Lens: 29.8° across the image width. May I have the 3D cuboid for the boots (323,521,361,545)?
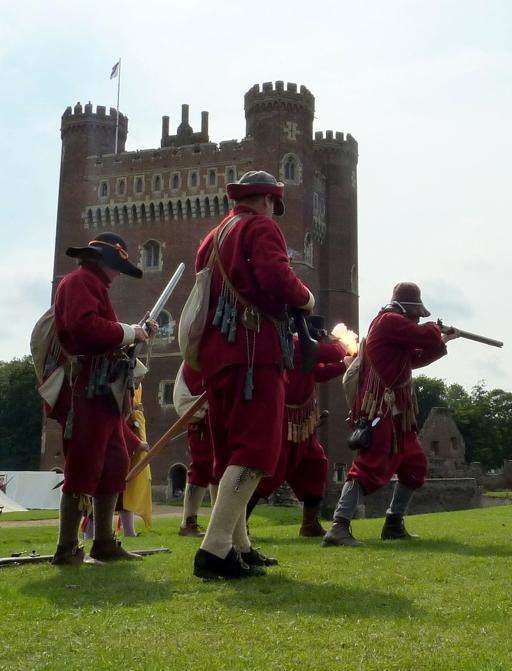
[{"bbox_3d":[0.605,1.406,6.821,0.258,0.146,0.421,2,-5,3],"label":"boots"}]

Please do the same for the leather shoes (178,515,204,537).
[{"bbox_3d":[-0.592,1.766,8.887,0.308,0.213,0.129,3,-1,2],"label":"leather shoes"}]

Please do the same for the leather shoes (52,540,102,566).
[{"bbox_3d":[-1.093,1.296,5.705,0.233,0.110,0.414,-1,-6,30],"label":"leather shoes"}]

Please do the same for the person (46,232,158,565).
[{"bbox_3d":[-1.004,0.343,6.026,0.543,2.119,0.704,0,-6,19],"label":"person"}]

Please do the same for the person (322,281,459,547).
[{"bbox_3d":[1.033,0.556,7.388,0.803,2.008,1.155,1,-6,12],"label":"person"}]

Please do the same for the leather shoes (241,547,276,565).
[{"bbox_3d":[0.036,1.266,5.529,0.243,0.101,0.081,3,-5,-16],"label":"leather shoes"}]

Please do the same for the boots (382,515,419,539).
[{"bbox_3d":[1.096,1.473,7.336,0.269,0.177,0.398,2,-5,8],"label":"boots"}]

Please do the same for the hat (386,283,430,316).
[{"bbox_3d":[1.131,-0.247,7.210,0.426,0.265,0.271,2,3,-34],"label":"hat"}]

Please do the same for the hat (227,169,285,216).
[{"bbox_3d":[0.012,-0.849,5.775,0.326,0.181,0.237,0,1,-25],"label":"hat"}]

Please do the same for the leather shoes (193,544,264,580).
[{"bbox_3d":[-0.143,1.180,4.982,0.411,0.196,0.135,2,-6,-11],"label":"leather shoes"}]

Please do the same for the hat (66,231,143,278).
[{"bbox_3d":[-1.012,-0.543,6.397,0.480,0.241,0.453,19,-12,-20],"label":"hat"}]

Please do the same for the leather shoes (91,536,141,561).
[{"bbox_3d":[-0.853,1.350,6.085,0.393,0.179,0.125,0,-7,-1],"label":"leather shoes"}]

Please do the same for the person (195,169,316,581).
[{"bbox_3d":[-0.037,0.131,5.330,0.606,2.292,0.734,3,-6,-6],"label":"person"}]
